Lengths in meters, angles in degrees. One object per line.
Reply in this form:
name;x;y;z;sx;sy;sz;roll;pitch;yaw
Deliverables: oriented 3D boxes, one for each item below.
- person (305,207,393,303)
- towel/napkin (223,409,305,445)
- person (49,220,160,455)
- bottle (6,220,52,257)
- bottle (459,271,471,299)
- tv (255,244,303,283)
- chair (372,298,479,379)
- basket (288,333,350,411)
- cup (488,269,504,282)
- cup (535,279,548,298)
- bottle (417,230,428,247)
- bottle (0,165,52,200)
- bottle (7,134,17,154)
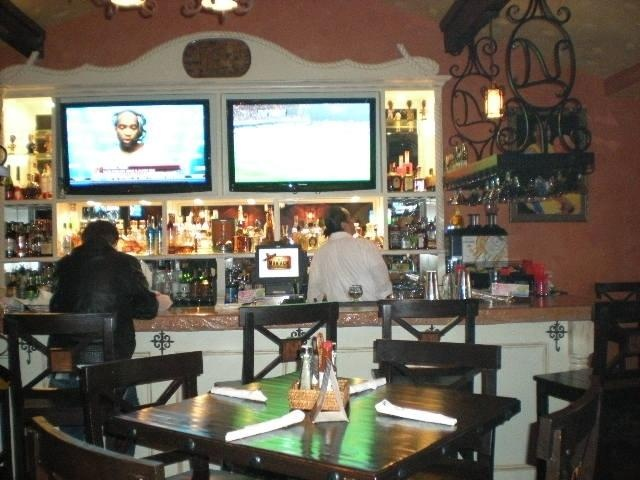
person;0.230;0.226;6.224;0.715;0.955;0.502;-12;-13;25
towel/napkin;-0.260;0.912;3.596;0.485;0.072;0.130;-8;28;-30
person;-1.663;0.693;5.463;0.668;1.881;0.613;4;29;-13
bottle;-2.711;-0.004;6.640;0.368;0.375;0.088;-4;-7;-10
bottle;1.154;0.353;5.733;0.100;0.229;0.344;-2;0;11
tv;-0.384;0.205;6.400;0.526;0.378;0.275;0;-4;-2
chair;0.721;0.605;4.841;0.410;0.653;0.446;0;7;-1
basket;-0.053;0.666;3.869;0.353;0.444;0.433;2;-3;-7
cup;1.600;0.324;6.581;0.116;0.133;0.115;-1;8;0
cup;1.924;0.422;6.213;0.119;0.138;0.120;0;3;0
bottle;0.981;0.007;6.933;0.122;0.226;0.113;0;-5;0
bottle;-2.715;-0.523;6.687;0.420;0.276;0.229;-2;0;-16
bottle;-2.853;-0.883;6.633;0.067;0.158;0.151;-2;0;-23
